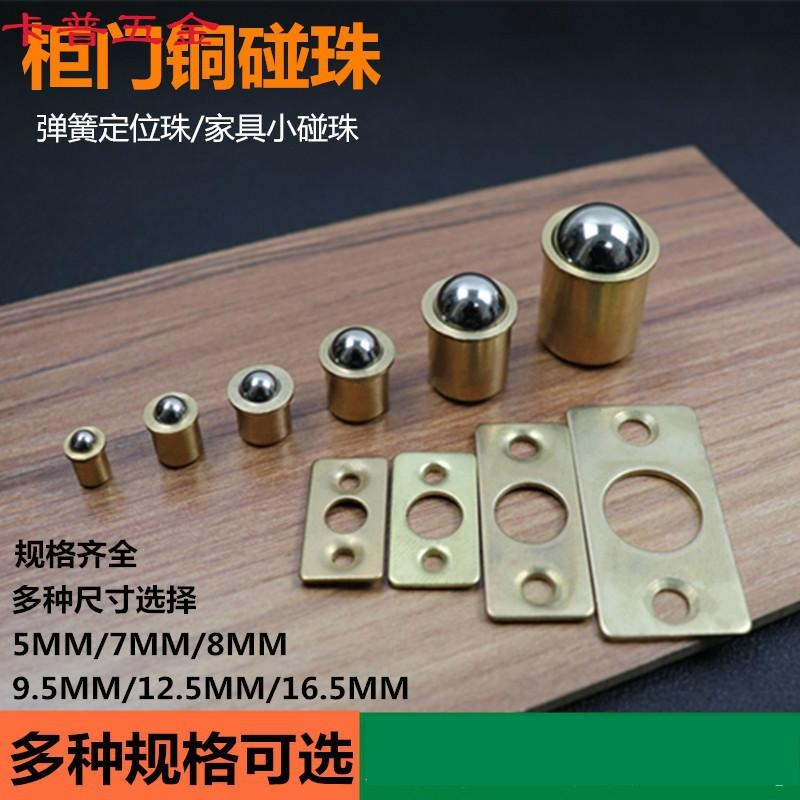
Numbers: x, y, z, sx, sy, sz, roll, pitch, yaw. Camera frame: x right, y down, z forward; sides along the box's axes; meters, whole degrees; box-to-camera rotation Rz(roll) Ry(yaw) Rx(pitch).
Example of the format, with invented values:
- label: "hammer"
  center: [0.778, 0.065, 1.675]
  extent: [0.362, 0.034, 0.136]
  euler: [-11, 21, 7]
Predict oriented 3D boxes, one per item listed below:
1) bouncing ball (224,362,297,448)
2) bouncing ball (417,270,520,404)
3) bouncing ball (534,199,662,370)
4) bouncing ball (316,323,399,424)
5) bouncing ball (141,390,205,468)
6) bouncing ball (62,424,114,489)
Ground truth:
- label: "bouncing ball"
  center: [-0.193, 0.004, 1.068]
  extent: [0.095, 0.103, 0.092]
  euler: [3, 45, -3]
- label: "bouncing ball"
  center: [0.106, -0.099, 1.110]
  extent: [0.151, 0.170, 0.142]
  euler: [-2, 39, 1]
- label: "bouncing ball"
  center: [0.287, -0.177, 1.151]
  extent: [0.165, 0.219, 0.136]
  euler: [10, 50, 11]
- label: "bouncing ball"
  center: [-0.057, -0.037, 1.082]
  extent: [0.100, 0.141, 0.076]
  euler: [-7, 49, -5]
- label: "bouncing ball"
  center: [-0.305, 0.043, 1.038]
  extent: [0.073, 0.112, 0.055]
  euler: [-18, 51, -14]
- label: "bouncing ball"
  center: [-0.416, 0.075, 1.020]
  extent: [0.055, 0.073, 0.053]
  euler: [2, 35, -1]
